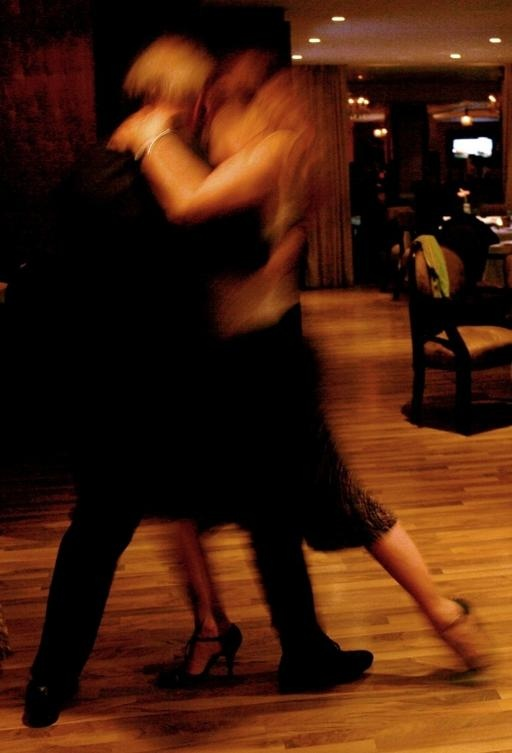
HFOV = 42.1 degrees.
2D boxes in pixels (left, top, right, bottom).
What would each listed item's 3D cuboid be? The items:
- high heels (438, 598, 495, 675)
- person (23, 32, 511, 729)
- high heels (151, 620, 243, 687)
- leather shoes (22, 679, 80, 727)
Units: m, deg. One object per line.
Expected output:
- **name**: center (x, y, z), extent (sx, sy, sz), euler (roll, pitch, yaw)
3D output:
- **high heels**: center (0.489, 0.611, 1.583), extent (0.119, 0.220, 0.076), euler (-23, 28, 15)
- **person**: center (-0.010, 0.155, 1.218), extent (0.736, 1.237, 0.642), euler (-6, 7, -26)
- **high heels**: center (-0.116, 0.676, 1.681), extent (0.292, 0.181, 0.101), euler (-5, 5, 2)
- **leather shoes**: center (-0.459, 0.718, 1.504), extent (0.091, 0.098, 0.155), euler (2, 0, 1)
